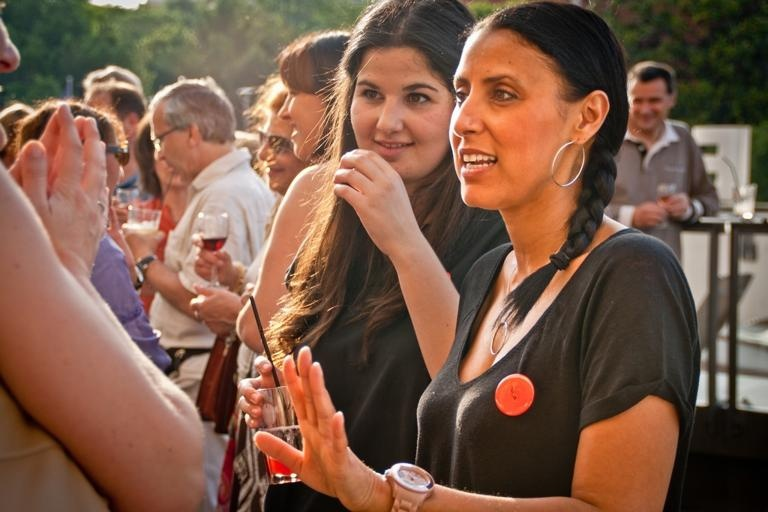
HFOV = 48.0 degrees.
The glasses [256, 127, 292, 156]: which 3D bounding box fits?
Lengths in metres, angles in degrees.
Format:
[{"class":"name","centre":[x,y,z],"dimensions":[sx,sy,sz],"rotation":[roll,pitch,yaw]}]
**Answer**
[{"class":"glasses","centre":[-0.614,-0.634,4.906],"dimensions":[0.047,0.168,0.146],"rotation":[-22,29,-32]}]

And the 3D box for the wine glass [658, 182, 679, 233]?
[{"class":"wine glass","centre":[1.663,-0.282,5.025],"dimensions":[0.118,0.144,0.213],"rotation":[14,-12,16]}]

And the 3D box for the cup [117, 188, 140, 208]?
[{"class":"cup","centre":[-1.505,-0.336,5.020],"dimensions":[0.139,0.165,0.136],"rotation":[0,5,0]}]

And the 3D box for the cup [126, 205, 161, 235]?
[{"class":"cup","centre":[-1.301,-0.185,4.672],"dimensions":[0.135,0.140,0.168],"rotation":[0,-5,37]}]

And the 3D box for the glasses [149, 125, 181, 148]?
[{"class":"glasses","centre":[-1.188,-0.650,4.691],"dimensions":[0.124,0.044,0.122],"rotation":[-21,25,-19]}]

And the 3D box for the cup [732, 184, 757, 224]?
[{"class":"cup","centre":[1.988,-0.290,4.753],"dimensions":[0.110,0.183,0.114],"rotation":[-12,28,6]}]
